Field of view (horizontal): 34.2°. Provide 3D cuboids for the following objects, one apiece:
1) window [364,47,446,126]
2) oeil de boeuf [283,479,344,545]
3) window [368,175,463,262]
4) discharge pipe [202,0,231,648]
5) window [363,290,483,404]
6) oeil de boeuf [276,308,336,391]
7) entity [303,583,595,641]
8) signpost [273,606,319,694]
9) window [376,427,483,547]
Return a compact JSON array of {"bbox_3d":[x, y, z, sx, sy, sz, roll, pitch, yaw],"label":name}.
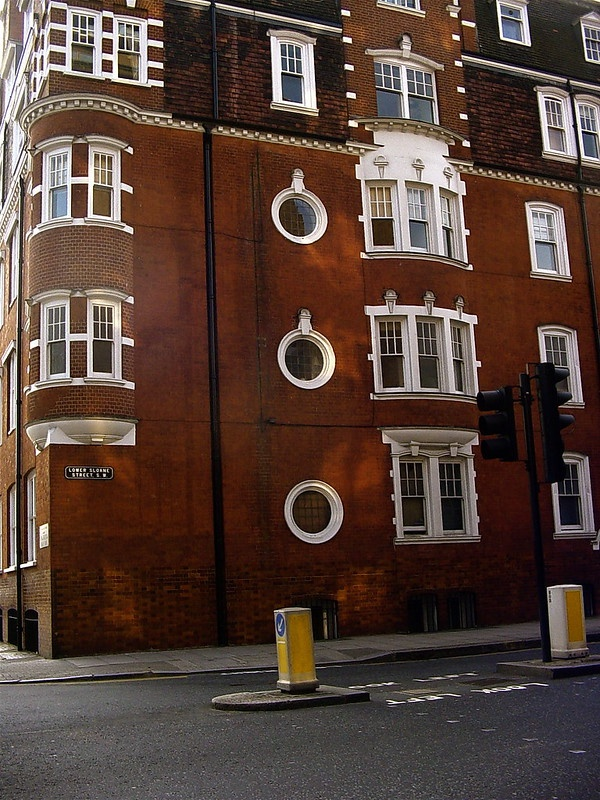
[{"bbox_3d":[2.534,-7.876,24.529,2.427,2.101,0.269,7,-21,-28],"label":"window"},{"bbox_3d":[0.287,2.432,21.041,1.368,1.384,0.384,3,-10,-36],"label":"oeil de boeuf"},{"bbox_3d":[2.686,-4.403,23.693,2.468,1.585,0.230,5,-18,-29],"label":"window"},{"bbox_3d":[-1.820,-1.989,20.982,0.429,14.086,1.011,-2,-8,-2],"label":"discharge pipe"},{"bbox_3d":[2.738,-1.209,22.856,2.872,2.323,0.379,3,-16,-29],"label":"window"},{"bbox_3d":[0.118,-1.109,21.825,1.370,1.799,0.416,3,-10,-36],"label":"oeil de boeuf"},{"bbox_3d":[2.065,4.686,21.379,4.452,0.905,0.326,1,-9,-26],"label":"entity"},{"bbox_3d":[-0.048,2.871,11.168,0.438,0.915,0.542,-2,-8,-4],"label":"signpost"},{"bbox_3d":[2.850,2.042,22.301,3.137,2.936,0.527,3,-16,-27],"label":"window"}]
